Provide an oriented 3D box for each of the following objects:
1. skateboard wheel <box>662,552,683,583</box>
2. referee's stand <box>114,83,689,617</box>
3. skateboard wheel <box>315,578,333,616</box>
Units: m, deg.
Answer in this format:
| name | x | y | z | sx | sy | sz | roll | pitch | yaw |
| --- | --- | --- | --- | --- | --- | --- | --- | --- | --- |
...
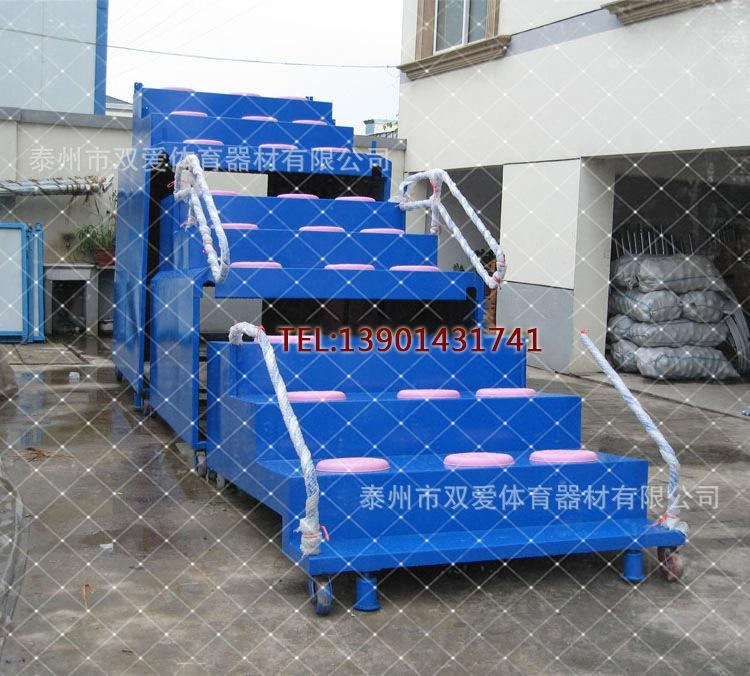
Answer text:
| name | x | y | z | sx | sy | sz | roll | pitch | yaw |
| --- | --- | --- | --- | --- | --- | --- | --- | --- | --- |
| skateboard wheel | 1.153 | 0.876 | 3.343 | 0.095 | 0.103 | 0.084 | 2 | 7 | 6 |
| referee's stand | -0.101 | -0.255 | 5.320 | 1.691 | 2.486 | 4.712 | 0 | 4 | -19 |
| skateboard wheel | -0.177 | 0.880 | 2.940 | 0.051 | 0.099 | 0.096 | 2 | 16 | -7 |
